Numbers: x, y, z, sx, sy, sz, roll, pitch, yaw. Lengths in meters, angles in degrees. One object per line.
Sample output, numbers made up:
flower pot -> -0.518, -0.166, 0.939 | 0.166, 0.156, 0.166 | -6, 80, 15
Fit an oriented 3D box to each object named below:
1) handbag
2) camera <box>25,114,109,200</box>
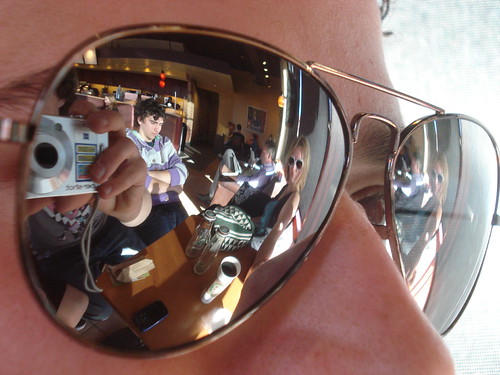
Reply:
handbag -> -0.037, 0.061, 0.560 | 0.075, 0.097, 0.036 | 51, 119, 31
camera -> -0.224, -0.032, 0.428 | 0.081, 0.040, 0.104 | 7, 83, -5
